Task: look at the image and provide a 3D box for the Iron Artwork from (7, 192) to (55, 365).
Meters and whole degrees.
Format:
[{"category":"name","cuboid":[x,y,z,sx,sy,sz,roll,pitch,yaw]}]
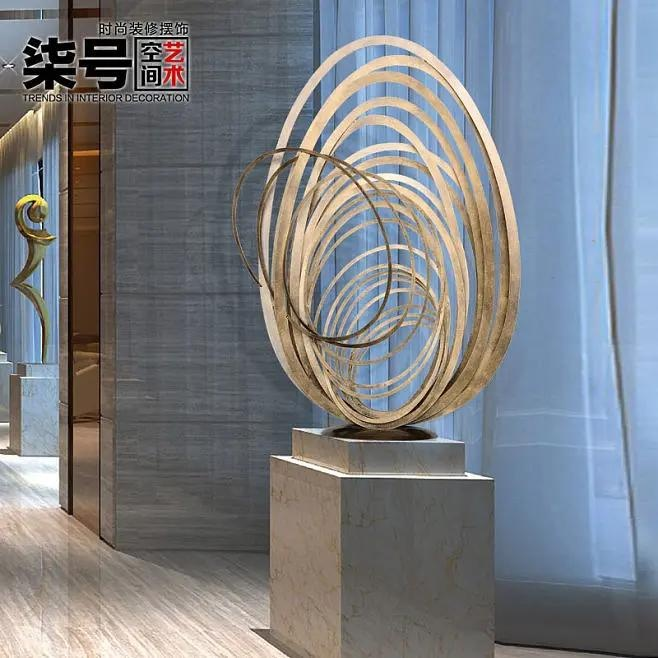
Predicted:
[{"category":"Iron Artwork","cuboid":[-2.369,-0.441,7.992,0.326,1.452,2.465,-3,3,-16]}]
